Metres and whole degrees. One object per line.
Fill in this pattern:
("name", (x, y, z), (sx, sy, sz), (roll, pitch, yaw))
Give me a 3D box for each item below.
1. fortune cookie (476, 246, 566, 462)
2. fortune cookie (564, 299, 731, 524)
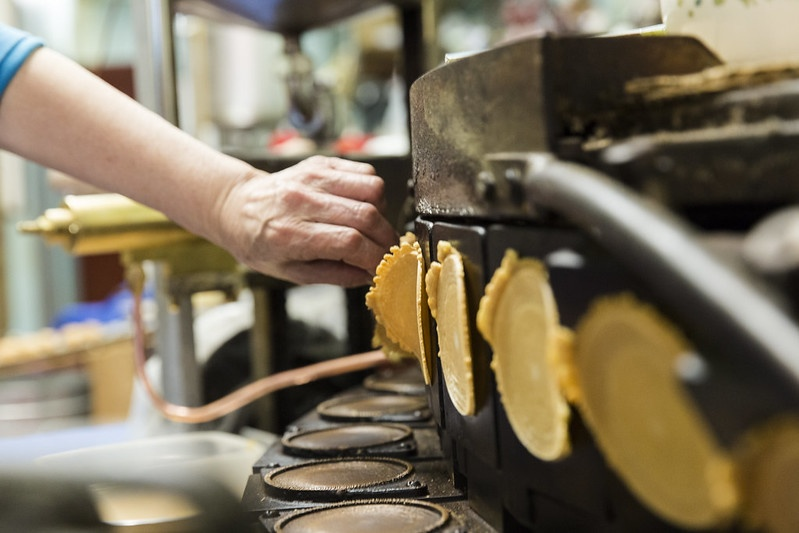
("fortune cookie", (0.105, 0.073, 0.706), (0.032, 0.167, 0.089), (0, -12, -31))
("fortune cookie", (0.217, 0.101, 0.710), (0.107, 0.190, 0.031), (-29, -6, 43))
